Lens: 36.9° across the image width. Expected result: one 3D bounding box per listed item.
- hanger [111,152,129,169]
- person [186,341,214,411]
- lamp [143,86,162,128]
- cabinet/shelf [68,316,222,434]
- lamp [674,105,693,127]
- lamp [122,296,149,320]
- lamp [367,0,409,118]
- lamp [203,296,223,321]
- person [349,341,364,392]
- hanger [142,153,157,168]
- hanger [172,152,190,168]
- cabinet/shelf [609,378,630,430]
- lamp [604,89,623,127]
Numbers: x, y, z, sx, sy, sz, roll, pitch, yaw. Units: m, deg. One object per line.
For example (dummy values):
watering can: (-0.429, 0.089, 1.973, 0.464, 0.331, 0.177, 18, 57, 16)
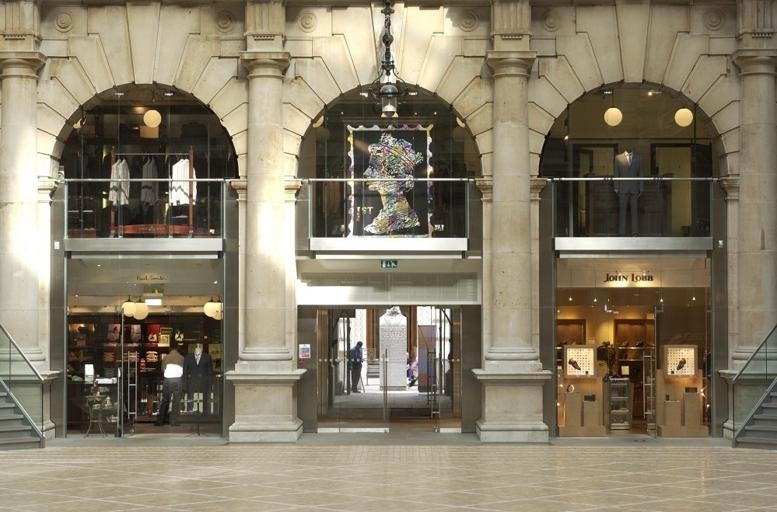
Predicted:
hanger: (-6.961, -2.442, 30.200, 0.492, 0.497, 0.055, 0, -14, -9)
person: (-4.824, 3.062, 29.612, 0.667, 1.754, 0.236, -2, -2, 18)
lamp: (-6.350, -3.897, 31.262, 0.451, 0.945, 0.280, -3, -2, 22)
cabinet/shelf: (-6.222, 3.067, 29.660, 3.258, 2.454, 1.107, 0, -2, -2)
lamp: (7.961, -3.706, 31.269, 0.583, 0.564, 0.272, -3, -3, 43)
lamp: (-6.484, 1.325, 30.114, 0.830, 0.723, 0.437, 0, 8, -4)
lamp: (-0.044, -4.885, 28.914, 0.842, 2.942, 2.298, -2, -2, 0)
lamp: (-4.431, 1.355, 29.674, 0.583, 0.711, 0.555, 0, -2, -16)
person: (-0.812, 2.800, 29.902, 0.328, 1.306, 0.091, -2, -2, -2)
hanger: (-6.191, -2.505, 30.221, 0.331, 0.270, 0.145, -2, -2, -4)
hanger: (-5.407, -2.475, 30.327, 0.496, 0.503, 0.040, 2, -32, -5)
cabinet/shelf: (5.896, 3.752, 29.786, 0.603, 1.309, 0.229, -2, -2, 6)
lamp: (6.107, -3.979, 31.557, 0.573, 1.041, 0.322, -1, -2, -8)
